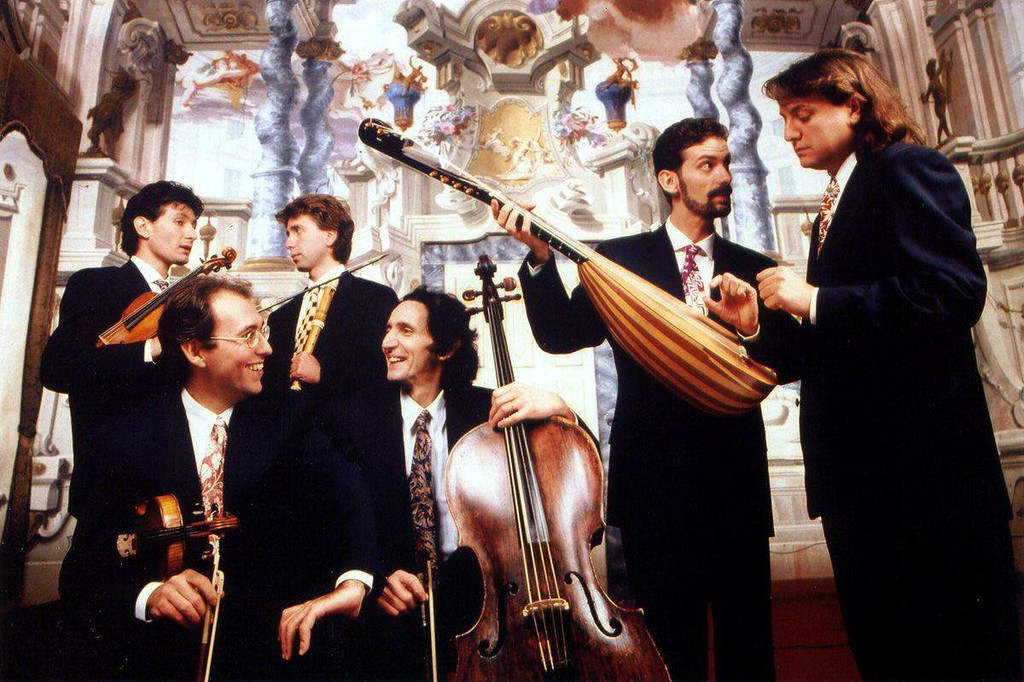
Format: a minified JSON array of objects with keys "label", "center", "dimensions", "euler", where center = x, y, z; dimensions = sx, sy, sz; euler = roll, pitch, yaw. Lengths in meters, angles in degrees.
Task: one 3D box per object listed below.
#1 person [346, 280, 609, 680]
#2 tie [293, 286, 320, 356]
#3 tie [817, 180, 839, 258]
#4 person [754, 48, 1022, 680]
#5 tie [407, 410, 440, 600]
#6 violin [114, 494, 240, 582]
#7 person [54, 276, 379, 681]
[{"label":"person","center":[-0.395,0.582,3.954],"dimensions":[0.884,1.657,0.489],"euler":[0,-6,-8]},{"label":"tie","center":[-0.923,-0.098,3.783],"dimensions":[0.099,0.267,0.051],"euler":[5,-16,-4]},{"label":"tie","center":[1.334,-0.543,3.587],"dimensions":[0.046,0.473,0.115],"euler":[18,-34,-9]},{"label":"person","center":[1.529,0.059,3.464],"dimensions":[0.823,2.622,0.345],"euler":[-5,-7,17]},{"label":"tie","center":[-0.375,0.705,3.685],"dimensions":[0.151,0.846,0.086],"euler":[-1,-17,5]},{"label":"violin","center":[-1.405,0.809,3.539],"dimensions":[0.496,0.335,0.118],"euler":[-4,-7,7]},{"label":"person","center":[-1.194,0.549,3.611],"dimensions":[1.119,1.575,0.509],"euler":[0,-11,-11]}]
